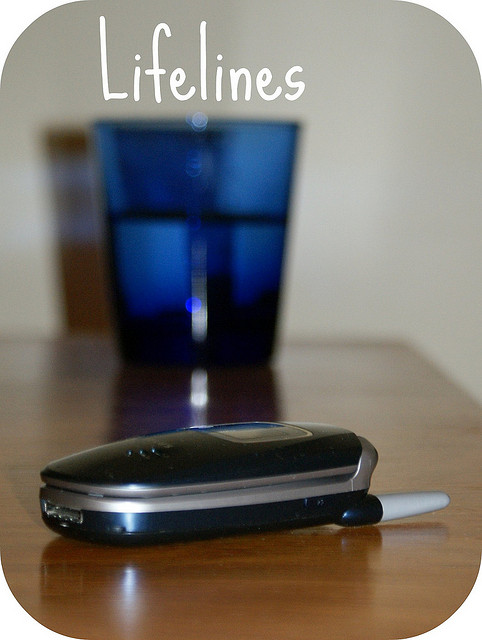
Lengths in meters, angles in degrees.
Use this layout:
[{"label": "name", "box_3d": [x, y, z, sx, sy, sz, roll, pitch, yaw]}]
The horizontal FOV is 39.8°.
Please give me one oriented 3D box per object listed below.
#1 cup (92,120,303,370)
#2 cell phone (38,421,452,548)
[{"label": "cup", "box_3d": [-0.055, -0.044, 0.526, 0.188, 0.159, 0.165, -1, 1, 6]}, {"label": "cell phone", "box_3d": [0.015, 0.070, 0.357, 0.180, 0.038, 0.071, -1, 0, -27]}]
